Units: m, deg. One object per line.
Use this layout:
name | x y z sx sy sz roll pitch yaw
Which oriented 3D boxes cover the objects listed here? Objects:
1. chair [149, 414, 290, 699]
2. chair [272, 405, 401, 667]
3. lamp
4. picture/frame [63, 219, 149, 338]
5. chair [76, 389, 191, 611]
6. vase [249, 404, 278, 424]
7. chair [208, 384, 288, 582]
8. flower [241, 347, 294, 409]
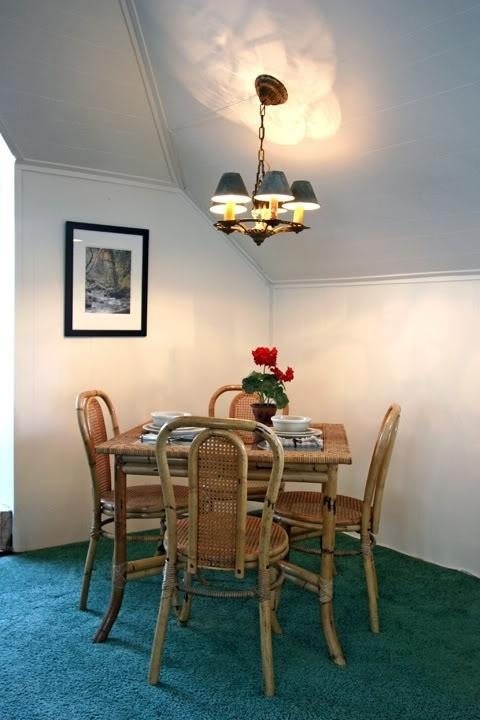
chair | -0.049 0.545 1.659 0.366 0.891 0.405 2 14 3
chair | 0.352 0.584 2.043 0.472 0.871 0.416 4 -1 24
lamp | 0.097 -0.754 1.979 0.401 0.635 0.374 3 -3 -21
picture/frame | -0.760 -0.459 2.858 0.620 0.860 0.049 0 2 -37
chair | -0.380 0.565 2.111 0.502 0.849 0.494 0 1 17
vase | 0.091 0.202 1.987 0.077 0.066 0.083 -1 -5 6
chair | 0.034 0.356 2.570 0.341 0.687 0.408 2 -26 0
flower | 0.080 0.083 1.938 0.207 0.259 0.201 0 5 42
